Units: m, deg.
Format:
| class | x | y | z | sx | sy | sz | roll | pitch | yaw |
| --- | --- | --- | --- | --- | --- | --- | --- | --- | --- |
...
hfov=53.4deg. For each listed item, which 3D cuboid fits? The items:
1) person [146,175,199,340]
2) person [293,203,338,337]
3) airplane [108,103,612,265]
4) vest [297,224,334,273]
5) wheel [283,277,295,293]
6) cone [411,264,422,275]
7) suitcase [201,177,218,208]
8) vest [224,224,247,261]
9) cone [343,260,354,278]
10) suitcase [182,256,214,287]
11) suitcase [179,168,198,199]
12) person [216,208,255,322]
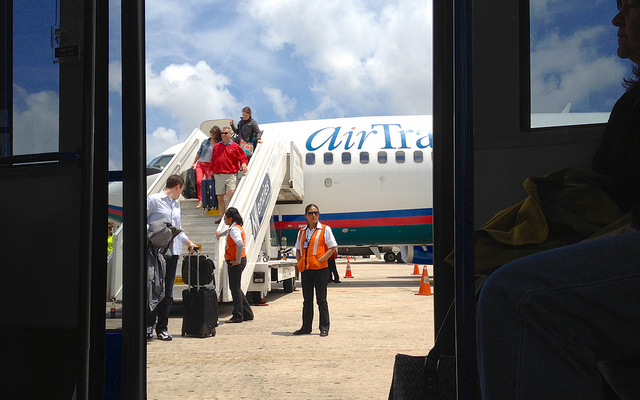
| class | x | y | z | sx | sy | sz | roll | pitch | yaw |
| --- | --- | --- | --- | --- | --- | --- | --- | --- | --- |
| person | -1.930 | 0.755 | 7.975 | 0.469 | 2.120 | 0.857 | 1 | -2 | -12 |
| person | -0.078 | 0.975 | 8.780 | 0.573 | 1.787 | 0.628 | 0 | -2 | -2 |
| airplane | 2.000 | -0.896 | 25.925 | 19.223 | 5.481 | 4.898 | 0 | -1 | 8 |
| vest | -0.098 | 0.682 | 8.652 | 0.391 | 0.603 | 0.205 | 0 | -2 | -7 |
| wheel | -0.730 | 1.962 | 14.690 | 0.237 | 0.359 | 0.472 | 0 | -2 | 1 |
| cone | 3.246 | 2.395 | 21.691 | 0.337 | 0.394 | 0.347 | 1 | -7 | -31 |
| suitcase | -1.973 | -0.088 | 10.896 | 0.357 | 0.552 | 0.384 | -2 | -1 | 10 |
| vest | -1.259 | 0.635 | 9.368 | 0.298 | 0.539 | 0.409 | 0 | -2 | -9 |
| cone | 0.976 | 2.467 | 22.209 | 0.465 | 0.667 | 0.479 | 0 | -13 | 0 |
| suitcase | -1.597 | 0.969 | 8.573 | 0.311 | 0.445 | 0.414 | 8 | -10 | -42 |
| suitcase | -2.340 | -0.296 | 11.387 | 0.260 | 0.565 | 0.447 | 1 | -2 | -14 |
| person | -1.287 | 1.003 | 9.552 | 0.520 | 1.733 | 0.957 | 0 | -2 | -5 |
